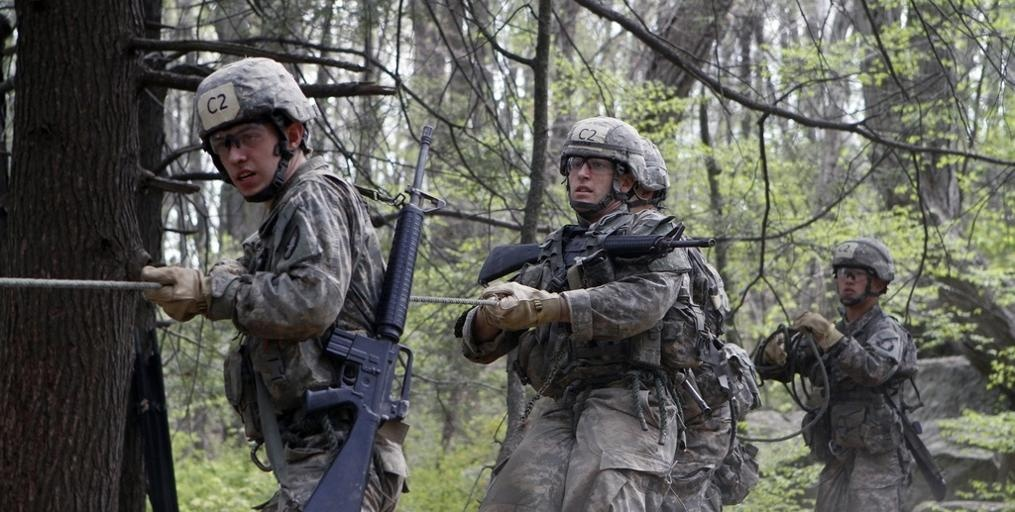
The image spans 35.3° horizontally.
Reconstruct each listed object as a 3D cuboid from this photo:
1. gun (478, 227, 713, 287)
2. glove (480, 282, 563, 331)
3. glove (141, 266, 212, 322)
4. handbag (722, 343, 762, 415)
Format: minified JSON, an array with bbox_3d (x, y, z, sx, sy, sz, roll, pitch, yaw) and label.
[{"bbox_3d":[1.336,0.022,23.102,3.343,0.387,0.886,0,35,19],"label":"gun"},{"bbox_3d":[0.222,0.678,22.625,1.176,0.646,0.226,2,-10,-6],"label":"glove"},{"bbox_3d":[-4.628,0.478,22.027,0.907,0.706,0.278,3,-10,-15],"label":"glove"},{"bbox_3d":[3.505,1.777,24.043,0.741,1.002,0.414,-11,-1,-43],"label":"handbag"}]
